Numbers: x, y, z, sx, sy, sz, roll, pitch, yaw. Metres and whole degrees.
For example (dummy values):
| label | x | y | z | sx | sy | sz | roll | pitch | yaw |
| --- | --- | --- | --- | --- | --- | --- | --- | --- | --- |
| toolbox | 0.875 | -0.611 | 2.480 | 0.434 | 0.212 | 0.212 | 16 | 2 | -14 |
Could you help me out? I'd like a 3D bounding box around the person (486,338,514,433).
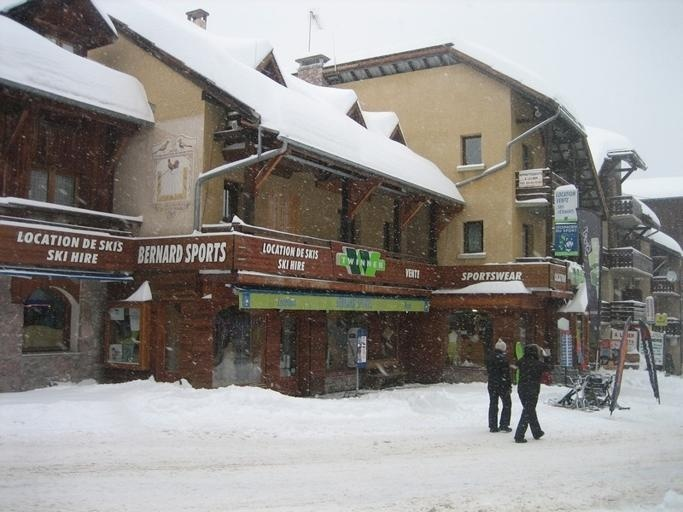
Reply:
| label | x | y | z | sx | sy | sz | roll | pitch | yaw |
| --- | --- | --- | --- | --- | --- | --- | --- | --- | --- |
| person | 3.929 | 3.262 | 20.632 | 0.586 | 2.153 | 0.546 | 2 | 4 | -11 |
